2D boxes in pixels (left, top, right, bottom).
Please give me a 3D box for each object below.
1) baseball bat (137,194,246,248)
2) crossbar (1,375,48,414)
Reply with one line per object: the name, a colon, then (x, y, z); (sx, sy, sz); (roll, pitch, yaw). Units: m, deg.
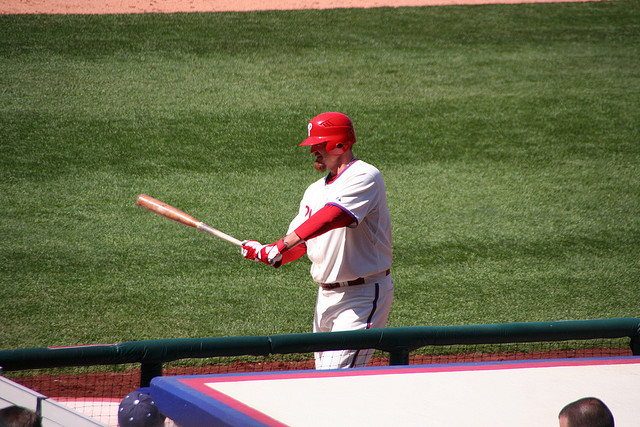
baseball bat: (-1.902, 0.160, 16.963); (1.539, 0.163, 0.165); (24, 42, -4)
crossbar: (-3.331, 2.028, 13.007); (0.501, 0.408, 0.096); (-1, 11, 4)
